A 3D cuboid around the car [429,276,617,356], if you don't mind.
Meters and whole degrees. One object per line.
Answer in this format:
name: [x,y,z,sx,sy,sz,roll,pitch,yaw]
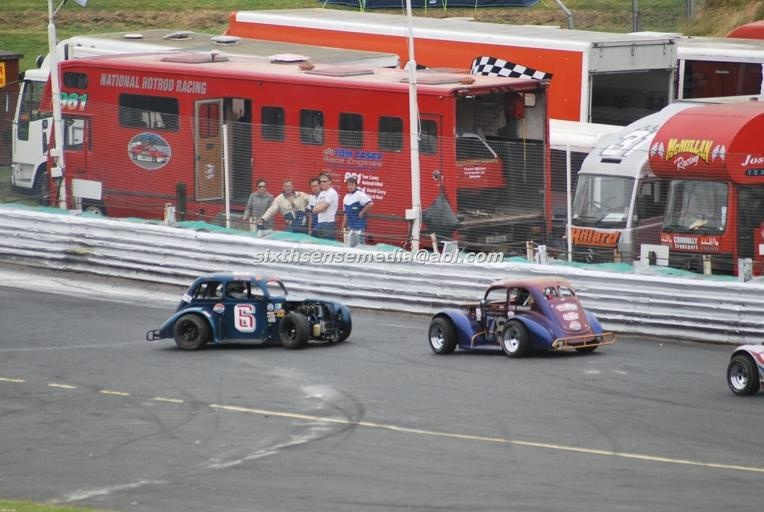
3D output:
car: [2.849,1.315,39.029,3.404,1.687,0.832,3,4,14]
